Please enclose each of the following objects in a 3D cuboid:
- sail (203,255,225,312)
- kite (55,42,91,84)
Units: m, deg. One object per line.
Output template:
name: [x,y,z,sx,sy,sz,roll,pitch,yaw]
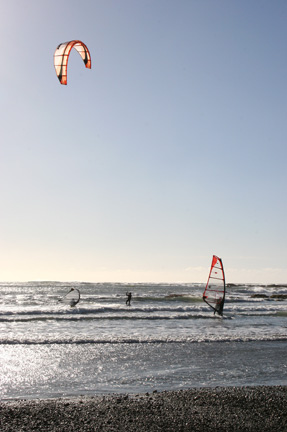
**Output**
sail: [4.511,4.685,27.939,1.332,5.694,1.170,7,-44,7]
kite: [-1.490,-3.422,9.495,0.259,0.735,0.915,16,33,29]
